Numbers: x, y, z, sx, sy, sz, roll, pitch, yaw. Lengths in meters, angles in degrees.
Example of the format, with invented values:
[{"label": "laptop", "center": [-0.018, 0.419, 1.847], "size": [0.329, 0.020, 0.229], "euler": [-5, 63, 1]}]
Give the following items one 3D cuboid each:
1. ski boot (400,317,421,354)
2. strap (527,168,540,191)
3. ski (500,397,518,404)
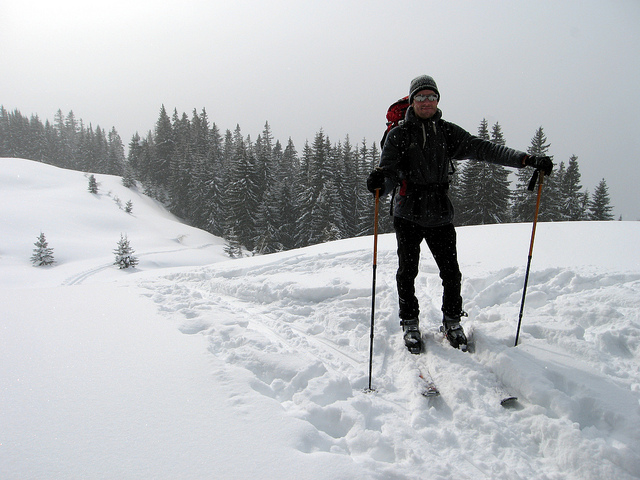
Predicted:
[{"label": "ski boot", "center": [1.259, 1.292, 6.944], "size": [0.257, 0.420, 0.402], "euler": [0, 7, 2]}, {"label": "strap", "center": [2.749, -0.770, 6.551], "size": [0.128, 0.289, 0.262], "euler": [3, 7, 21]}, {"label": "ski", "center": [2.201, 1.876, 5.925], "size": [0.130, 0.037, 0.031], "euler": [-11, 44, -8]}]
